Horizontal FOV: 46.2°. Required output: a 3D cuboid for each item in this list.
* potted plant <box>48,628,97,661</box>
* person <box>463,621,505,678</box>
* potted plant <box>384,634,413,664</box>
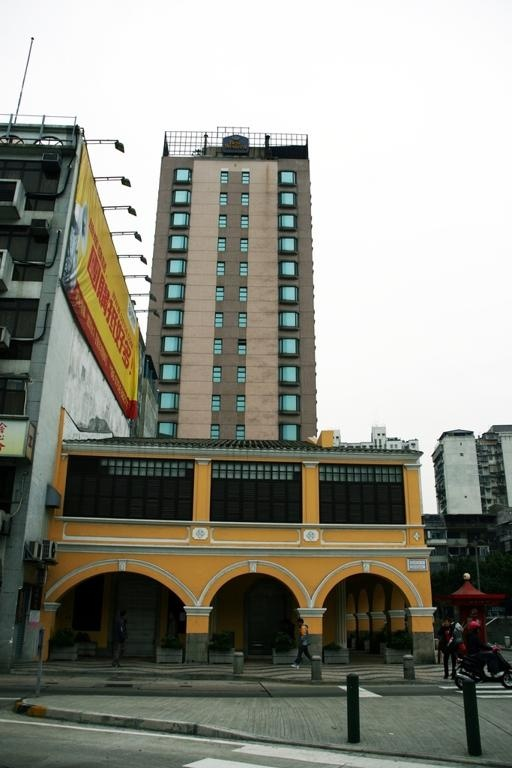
[{"bbox_3d":[-7.027,10.162,23.162,1.390,1.077,3.712,3,-25,-8],"label":"potted plant"},{"bbox_3d":[5.105,6.061,13.584,0.754,1.172,1.532,-14,-27,28],"label":"person"},{"bbox_3d":[5.464,10.157,23.031,1.152,1.141,0.792,1,-24,-2],"label":"potted plant"}]
